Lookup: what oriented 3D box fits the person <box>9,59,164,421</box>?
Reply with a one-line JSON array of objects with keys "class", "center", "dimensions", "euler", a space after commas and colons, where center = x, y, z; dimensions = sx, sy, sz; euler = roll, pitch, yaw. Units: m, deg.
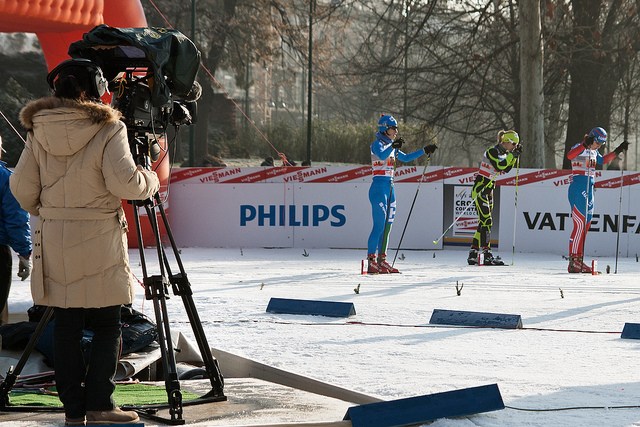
[{"class": "person", "center": [-2.665, 0.276, 10.512], "dimensions": [1.381, 4.040, 0.469], "euler": [1, 3, 12]}]

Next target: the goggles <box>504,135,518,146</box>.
[{"class": "goggles", "center": [3.913, -1.484, 18.762], "dimensions": [0.334, 0.182, 0.128], "euler": [-2, 4, -41]}]

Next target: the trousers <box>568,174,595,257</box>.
[{"class": "trousers", "center": [5.002, 0.019, 17.841], "dimensions": [0.502, 1.559, 0.484], "euler": [2, -7, 2]}]

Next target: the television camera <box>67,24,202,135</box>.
[{"class": "television camera", "center": [-2.066, -1.565, 10.904], "dimensions": [1.337, 1.249, 0.535], "euler": [0, 3, -9]}]
